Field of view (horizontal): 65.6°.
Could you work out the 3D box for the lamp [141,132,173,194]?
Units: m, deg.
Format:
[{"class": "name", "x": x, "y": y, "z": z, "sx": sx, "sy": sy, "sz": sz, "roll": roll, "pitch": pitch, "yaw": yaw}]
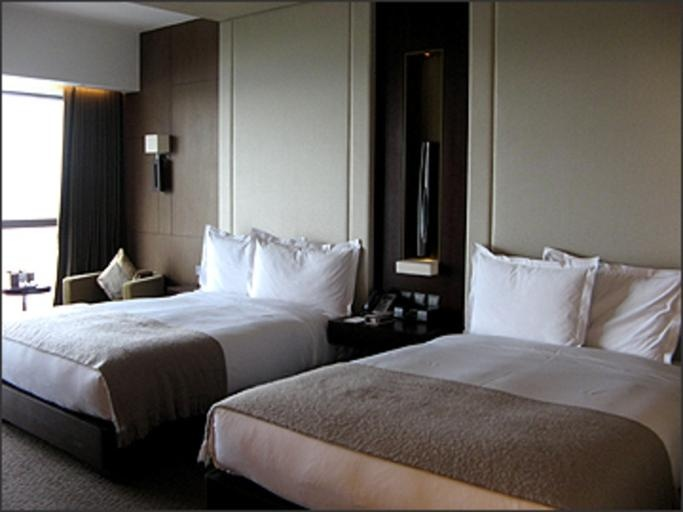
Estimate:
[{"class": "lamp", "x": -2.106, "y": -1.064, "z": 6.083, "sx": 0.217, "sy": 0.638, "sz": 0.438, "roll": -11, "pitch": 13, "yaw": -43}]
